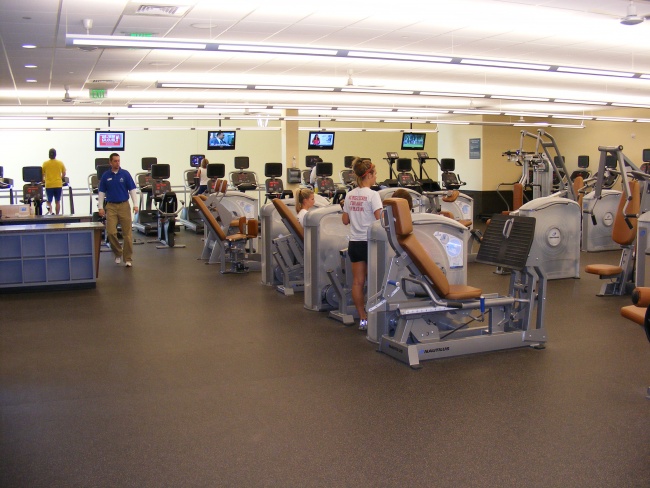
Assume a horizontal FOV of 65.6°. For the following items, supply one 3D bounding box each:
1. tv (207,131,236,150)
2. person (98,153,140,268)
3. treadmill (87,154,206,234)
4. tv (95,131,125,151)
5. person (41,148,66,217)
[{"bbox_3d":[-3.337,-3.307,16.095,0.598,0.456,0.080,-2,6,-21],"label":"tv"},{"bbox_3d":[-3.531,-0.582,8.588,0.601,1.871,0.513,-2,9,-14],"label":"person"},{"bbox_3d":[-4.398,-1.183,12.341,0.827,2.737,1.123,0,1,-34],"label":"treadmill"},{"bbox_3d":[-6.743,-3.212,15.726,0.852,0.610,0.699,-6,9,-24],"label":"tv"},{"bbox_3d":[-6.484,-1.448,11.990,0.498,1.537,0.502,1,11,-27],"label":"person"}]
